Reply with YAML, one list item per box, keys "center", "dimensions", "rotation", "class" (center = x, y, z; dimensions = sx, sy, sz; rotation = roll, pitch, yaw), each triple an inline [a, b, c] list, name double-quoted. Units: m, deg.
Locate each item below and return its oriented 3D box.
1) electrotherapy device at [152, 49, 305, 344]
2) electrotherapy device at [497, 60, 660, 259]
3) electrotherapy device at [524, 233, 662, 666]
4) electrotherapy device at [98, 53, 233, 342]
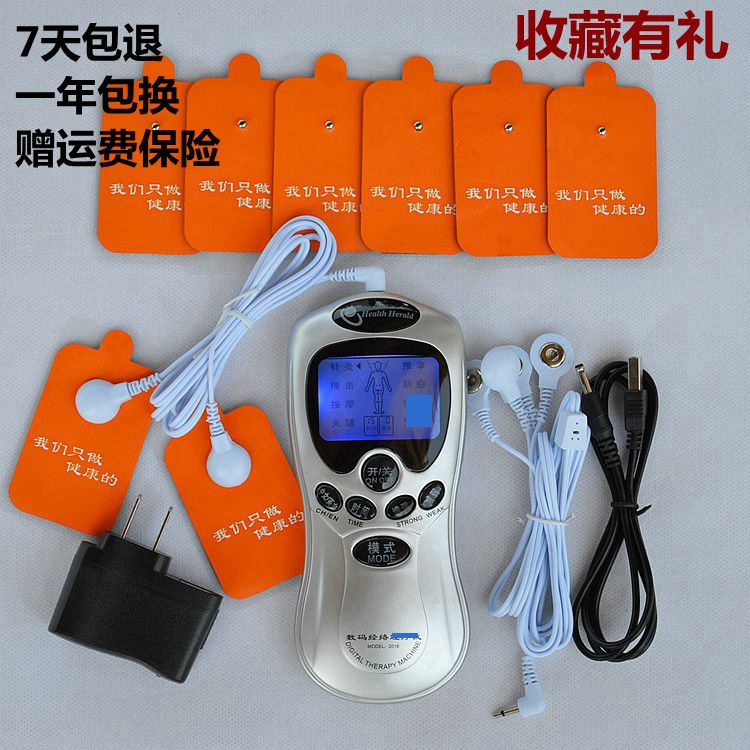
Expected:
- center: [-0.172, -0.266, 0.965]
  dimensions: [0.109, 0.178, 0.151]
  rotation: [-1, 36, 0]
  class: "electrotherapy device"
- center: [0.243, -0.250, 0.970]
  dimensions: [0.198, 0.419, 0.044]
  rotation: [0, -5, -2]
  class: "electrotherapy device"
- center: [0.267, 0.115, 0.884]
  dimensions: [0.093, 0.375, 0.059]
  rotation: [0, -3, 0]
  class: "electrotherapy device"
- center: [-0.264, -0.267, 0.985]
  dimensions: [0.134, 0.277, 0.020]
  rotation: [0, -17, -10]
  class: "electrotherapy device"
